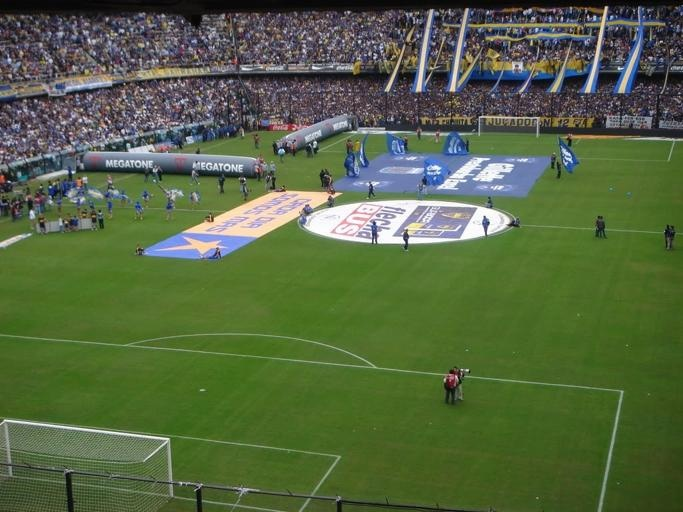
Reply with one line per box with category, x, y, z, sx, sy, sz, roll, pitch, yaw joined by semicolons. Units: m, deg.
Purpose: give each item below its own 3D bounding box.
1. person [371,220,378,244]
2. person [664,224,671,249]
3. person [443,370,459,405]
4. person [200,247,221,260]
person;2.021;-1.522;54.445;0.406;1.355;1.123;-5;21;-1
person;19.483;-1.113;51.580;0.443;1.258;0.770;1;22;13
person;4.621;5.524;36.686;0.675;1.398;0.574;-22;28;-37
person;-8.040;-0.266;53.090;1.202;0.554;1.422;-6;21;-6
